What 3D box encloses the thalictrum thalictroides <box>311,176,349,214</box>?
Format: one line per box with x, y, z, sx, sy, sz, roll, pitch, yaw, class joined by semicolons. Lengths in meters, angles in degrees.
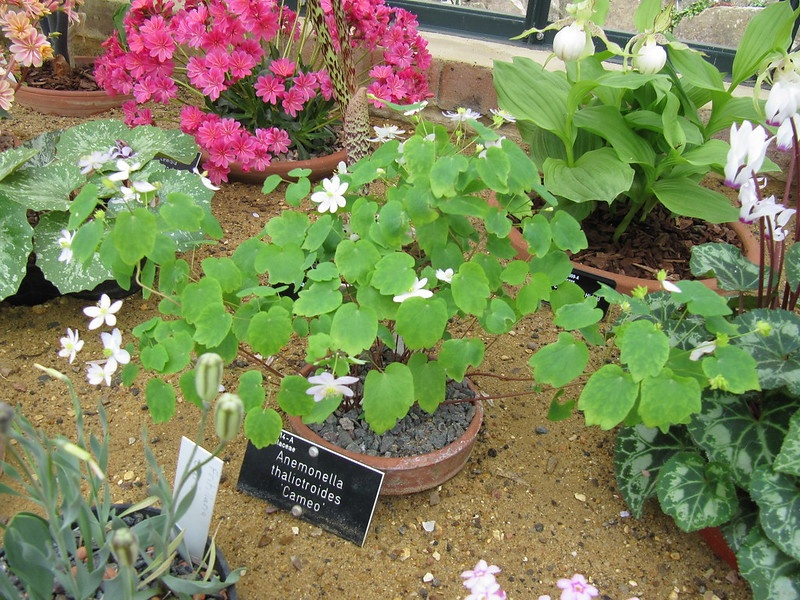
-0.180;-0.271;1.638;0.097;0.044;0.111;14;78;7;thalictrum thalictroides

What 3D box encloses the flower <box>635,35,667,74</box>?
0.819;-0.787;1.957;0.094;0.115;0.073;20;44;15;flower
